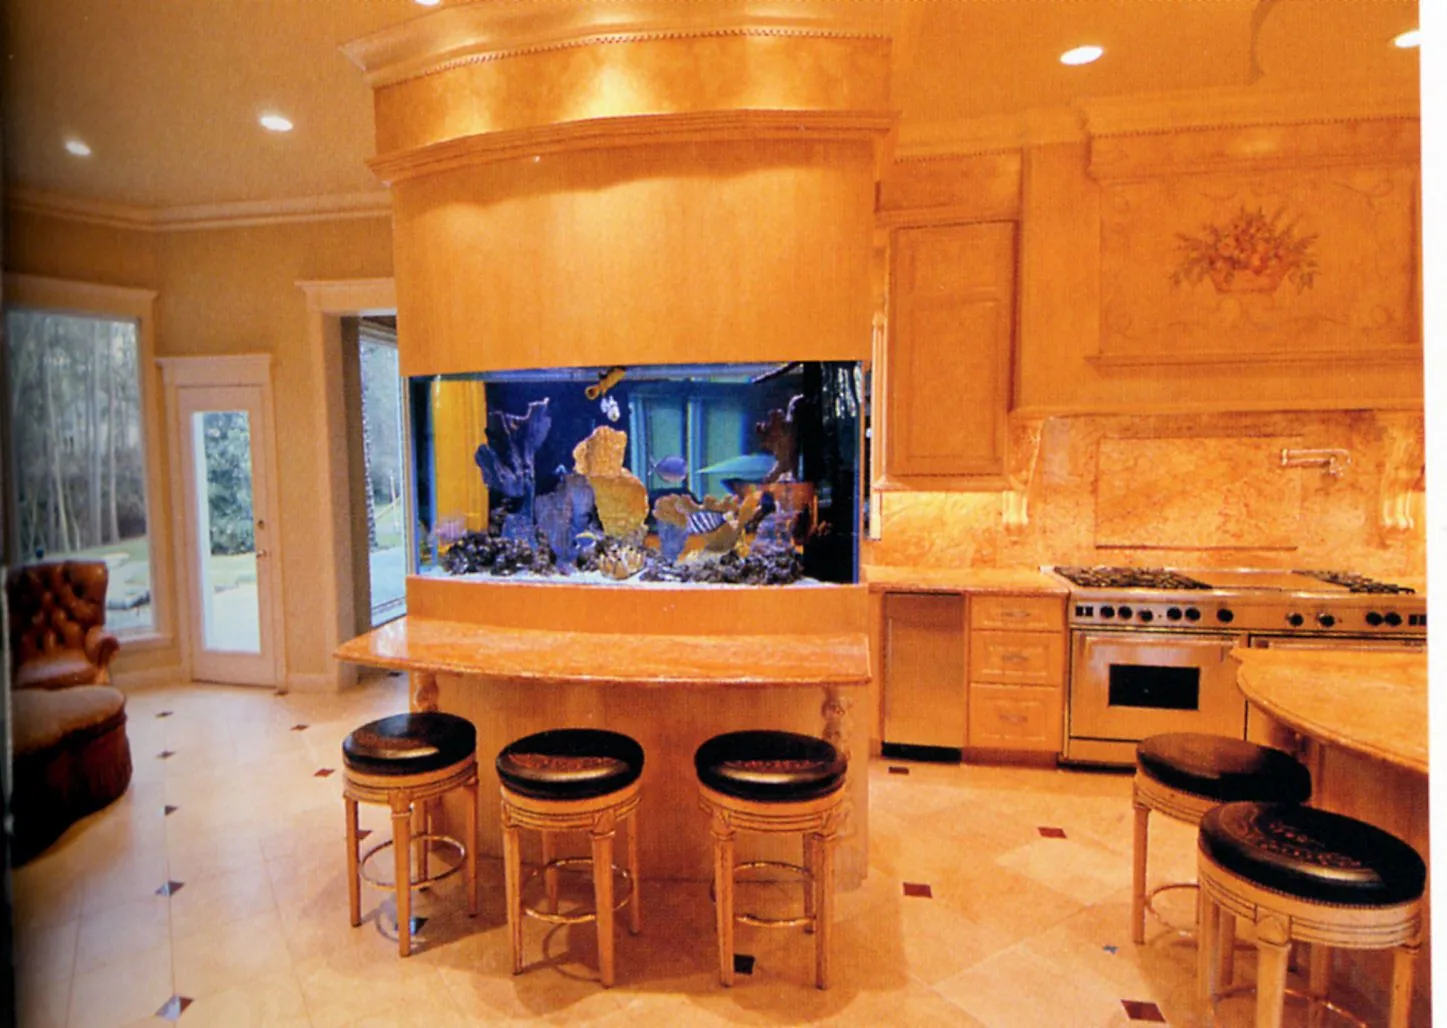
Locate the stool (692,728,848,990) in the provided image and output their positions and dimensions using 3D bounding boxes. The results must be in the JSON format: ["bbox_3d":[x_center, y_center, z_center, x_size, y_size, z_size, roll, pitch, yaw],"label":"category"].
[{"bbox_3d":[0.223,1.560,5.494,0.676,1.107,0.660,-1,5,1],"label":"stool"}]

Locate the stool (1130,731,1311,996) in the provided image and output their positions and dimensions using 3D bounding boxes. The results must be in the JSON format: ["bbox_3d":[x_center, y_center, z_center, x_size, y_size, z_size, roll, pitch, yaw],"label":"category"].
[{"bbox_3d":[2.128,1.523,5.347,0.935,1.070,0.928,0,1,6],"label":"stool"}]

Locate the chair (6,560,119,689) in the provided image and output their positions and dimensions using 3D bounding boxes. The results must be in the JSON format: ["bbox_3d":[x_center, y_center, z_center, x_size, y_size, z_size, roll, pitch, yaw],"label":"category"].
[{"bbox_3d":[-3.788,0.623,6.732,0.469,0.691,0.582,-4,5,-24],"label":"chair"}]

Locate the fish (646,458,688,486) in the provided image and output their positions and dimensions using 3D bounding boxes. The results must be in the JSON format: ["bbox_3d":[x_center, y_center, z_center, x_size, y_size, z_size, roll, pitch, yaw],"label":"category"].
[{"bbox_3d":[-0.269,-0.210,5.714,0.180,0.137,0.047,-2,5,-4],"label":"fish"}]

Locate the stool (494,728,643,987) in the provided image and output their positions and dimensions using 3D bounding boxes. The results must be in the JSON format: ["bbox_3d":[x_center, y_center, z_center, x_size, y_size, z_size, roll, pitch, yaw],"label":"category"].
[{"bbox_3d":[-0.717,1.553,5.530,0.679,1.087,0.736,-2,5,-11],"label":"stool"}]

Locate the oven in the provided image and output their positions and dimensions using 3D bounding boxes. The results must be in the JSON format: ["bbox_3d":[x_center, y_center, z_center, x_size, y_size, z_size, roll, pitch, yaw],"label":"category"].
[{"bbox_3d":[2.496,0.940,6.909,1.023,0.952,0.748,0,-5,14],"label":"oven"}]
